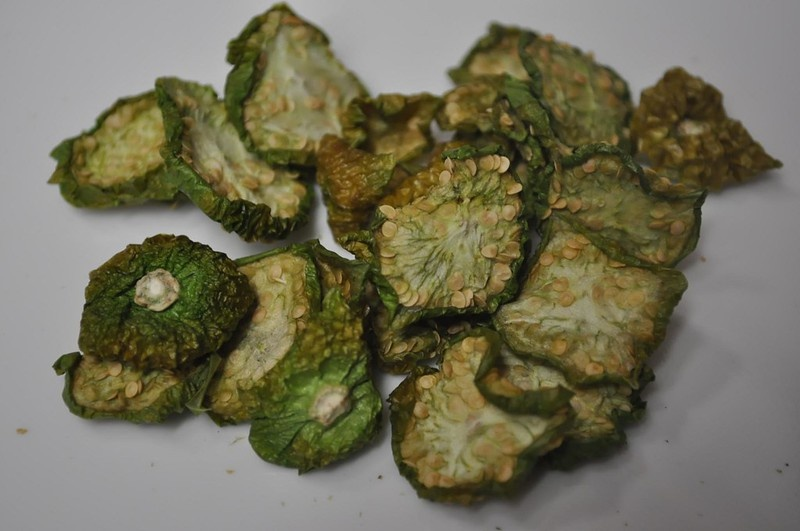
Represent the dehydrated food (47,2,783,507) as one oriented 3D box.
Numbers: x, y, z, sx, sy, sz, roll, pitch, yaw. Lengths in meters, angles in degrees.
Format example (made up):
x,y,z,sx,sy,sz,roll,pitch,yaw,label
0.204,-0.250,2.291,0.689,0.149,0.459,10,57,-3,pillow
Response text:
x,y,z,sx,sy,sz,roll,pitch,yaw,label
0.001,-0.090,5.481,3.497,2.815,1.285,-19,13,-10,dehydrated food
